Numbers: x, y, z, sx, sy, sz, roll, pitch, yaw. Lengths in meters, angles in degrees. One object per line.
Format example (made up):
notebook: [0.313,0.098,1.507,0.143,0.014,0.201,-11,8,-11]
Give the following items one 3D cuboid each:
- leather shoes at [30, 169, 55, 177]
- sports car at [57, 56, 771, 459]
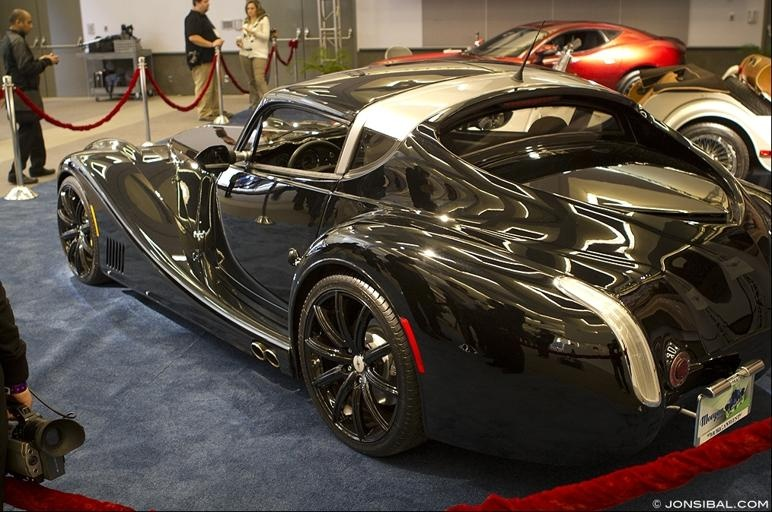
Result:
leather shoes: [-5.321,-1.249,8.147,0.314,0.123,0.102,-13,45,-36]
sports car: [-0.078,-0.058,3.365,3.925,1.302,2.302,18,24,39]
